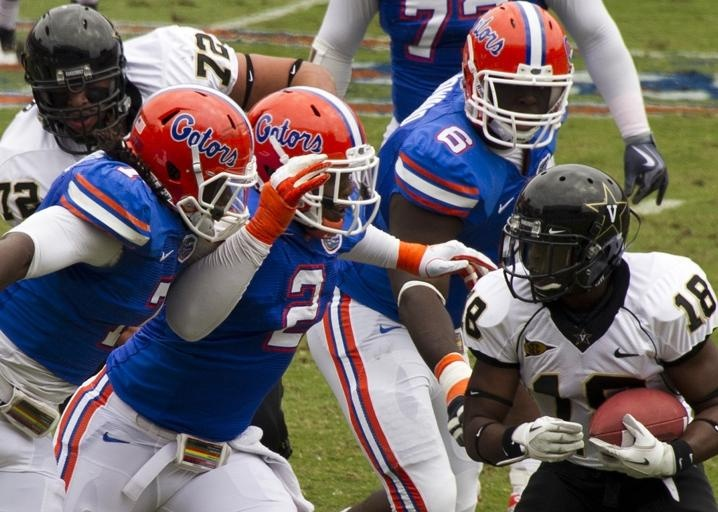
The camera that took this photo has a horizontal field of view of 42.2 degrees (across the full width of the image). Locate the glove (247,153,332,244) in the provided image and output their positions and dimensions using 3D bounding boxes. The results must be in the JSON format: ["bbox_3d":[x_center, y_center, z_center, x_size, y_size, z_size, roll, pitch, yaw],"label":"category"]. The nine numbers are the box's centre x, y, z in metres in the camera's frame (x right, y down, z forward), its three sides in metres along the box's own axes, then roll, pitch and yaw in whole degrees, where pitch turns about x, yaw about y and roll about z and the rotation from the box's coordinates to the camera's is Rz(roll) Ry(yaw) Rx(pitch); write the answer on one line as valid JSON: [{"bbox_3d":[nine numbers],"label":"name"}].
[{"bbox_3d":[-0.283,-0.232,3.559,0.366,0.163,0.266,-45,36,5],"label":"glove"}]

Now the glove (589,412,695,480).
[{"bbox_3d":[1.028,0.715,3.396,0.216,0.367,0.149,-34,68,3],"label":"glove"}]

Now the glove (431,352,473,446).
[{"bbox_3d":[0.428,0.607,4.097,0.125,0.325,0.261,-4,0,45],"label":"glove"}]

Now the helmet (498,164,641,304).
[{"bbox_3d":[0.797,-0.108,3.830,0.624,0.470,0.467,-16,21,-4],"label":"helmet"}]

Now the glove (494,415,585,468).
[{"bbox_3d":[0.695,0.720,3.571,0.318,0.128,0.161,-17,47,10],"label":"glove"}]

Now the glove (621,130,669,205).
[{"bbox_3d":[1.613,-0.492,5.276,0.353,0.430,0.207,2,-2,-28],"label":"glove"}]

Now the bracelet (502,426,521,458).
[{"bbox_3d":[0.587,0.734,3.646,0.089,0.080,0.098,-3,73,5],"label":"bracelet"}]
